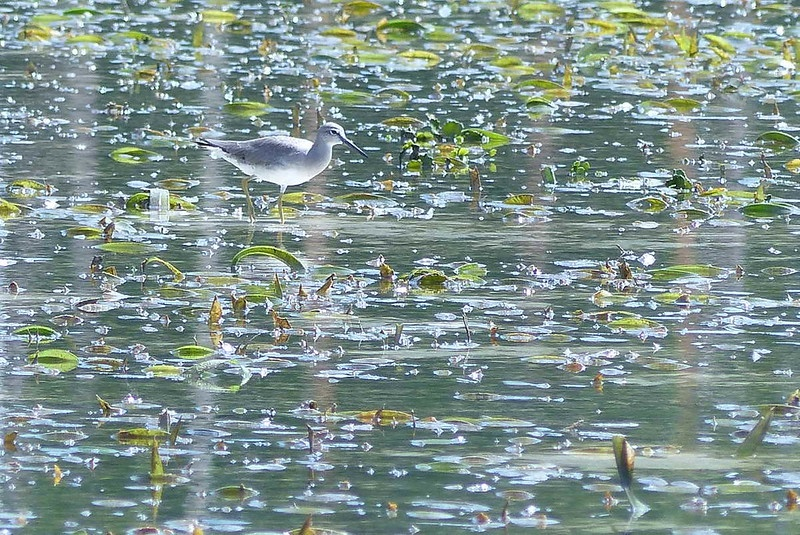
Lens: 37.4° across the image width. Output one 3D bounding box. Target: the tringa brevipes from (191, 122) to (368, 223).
[{"bbox_3d":[-1.098,-0.907,10.466,1.766,0.712,0.458,13,9,34],"label":"tringa brevipes"}]
